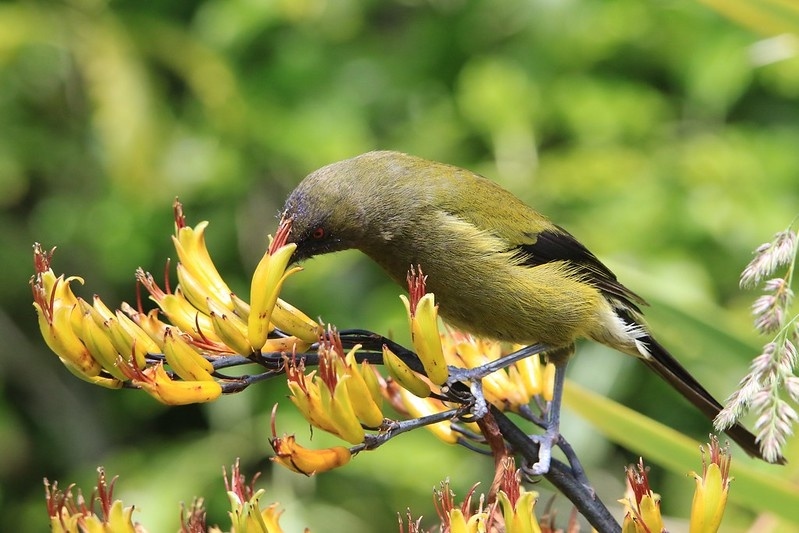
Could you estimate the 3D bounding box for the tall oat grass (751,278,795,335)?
[{"bbox_3d":[1.129,0.126,2.656,0.094,0.101,0.188,27,82,35],"label":"tall oat grass"}]
